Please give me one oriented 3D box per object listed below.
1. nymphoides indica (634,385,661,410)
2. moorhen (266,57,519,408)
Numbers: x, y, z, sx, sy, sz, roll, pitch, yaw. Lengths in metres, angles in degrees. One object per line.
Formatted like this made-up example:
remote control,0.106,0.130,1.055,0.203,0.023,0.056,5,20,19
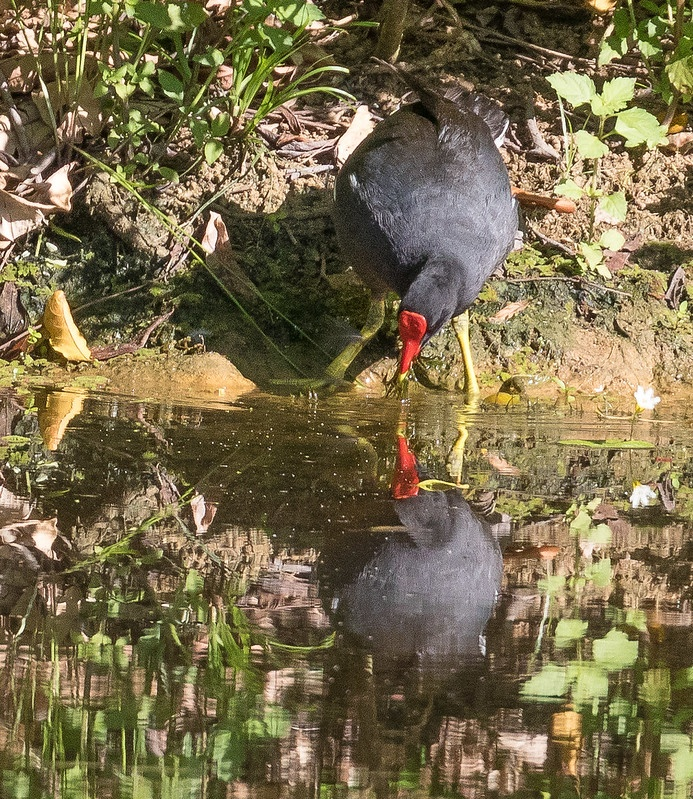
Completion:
nymphoides indica,1.039,-0.003,4.007,0.042,0.079,0.085,-20,-55,42
moorhen,0.148,-0.634,4.214,0.743,1.433,0.741,8,-2,-3
